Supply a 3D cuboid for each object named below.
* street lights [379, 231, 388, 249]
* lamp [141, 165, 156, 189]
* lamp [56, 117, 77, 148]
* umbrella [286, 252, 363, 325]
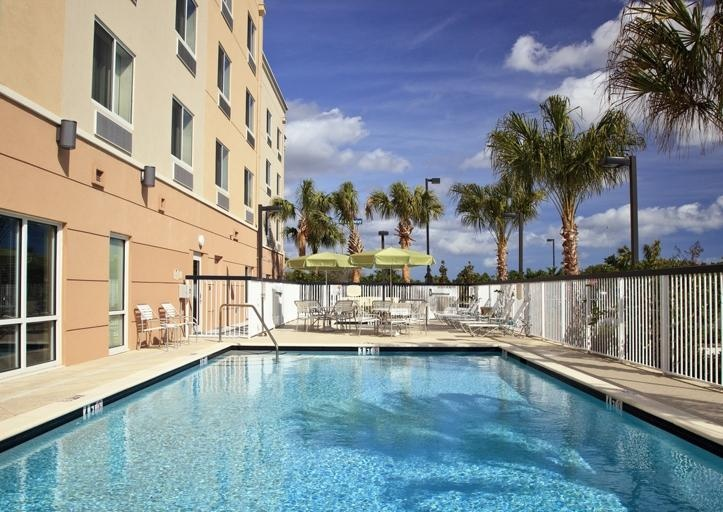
[{"bbox_3d":[1.067,-0.838,27.246,0.474,0.846,1.133,1,6,3],"label":"street lights"},{"bbox_3d":[-5.225,-1.928,13.893,0.239,0.528,0.473,1,6,3],"label":"lamp"},{"bbox_3d":[-5.754,-2.351,11.066,0.254,0.558,0.374,2,6,13],"label":"lamp"},{"bbox_3d":[-1.436,1.096,20.394,2.128,2.632,2.308,1,-2,16],"label":"umbrella"}]
